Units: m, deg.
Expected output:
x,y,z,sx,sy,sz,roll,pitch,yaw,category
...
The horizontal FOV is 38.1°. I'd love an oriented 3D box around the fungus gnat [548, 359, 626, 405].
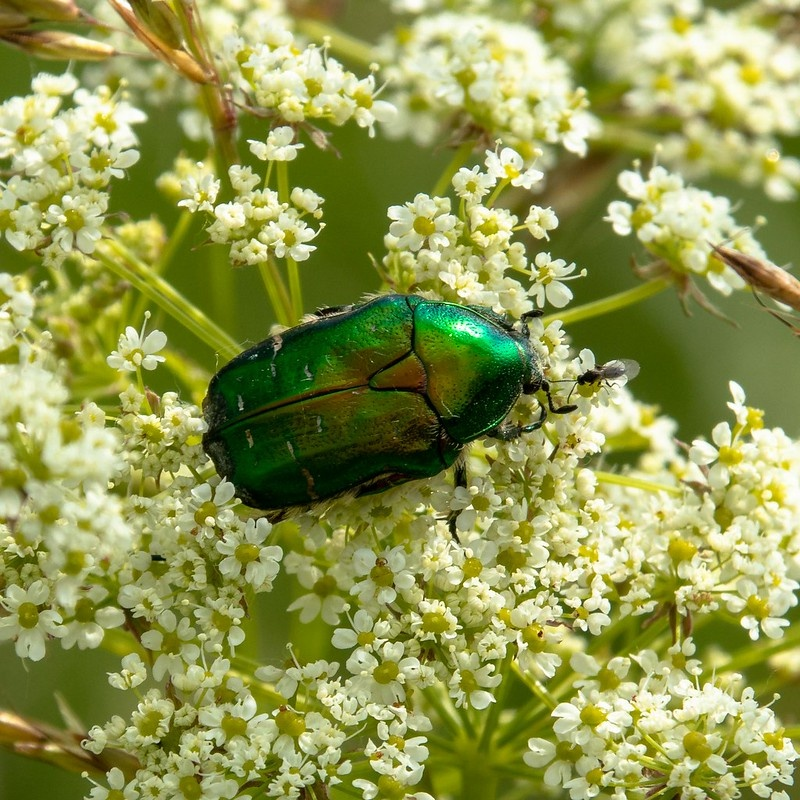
x,y,z,sx,sy,sz,roll,pitch,yaw,category
0.537,-0.054,3.195,0.162,0.046,0.108,-17,60,-1,fungus gnat
